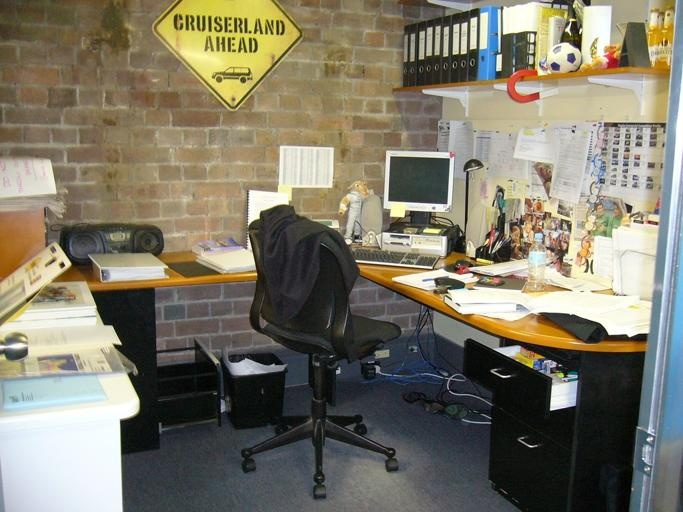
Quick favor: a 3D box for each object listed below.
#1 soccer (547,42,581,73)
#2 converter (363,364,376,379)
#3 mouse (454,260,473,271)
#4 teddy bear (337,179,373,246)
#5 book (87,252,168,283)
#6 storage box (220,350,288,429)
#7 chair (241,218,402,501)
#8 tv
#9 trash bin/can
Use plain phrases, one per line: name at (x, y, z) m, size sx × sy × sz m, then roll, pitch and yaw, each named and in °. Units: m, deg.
soccer at (0.982, -0.868, 2.482) m, size 0.146 × 0.127 × 0.089 m, roll 5°, pitch 15°, yaw 18°
converter at (0.170, 0.737, 3.596) m, size 0.089 × 0.109 × 0.078 m, roll 1°, pitch 3°, yaw -11°
mouse at (0.609, 0.049, 2.829) m, size 0.056 × 0.027 × 0.080 m, roll 8°, pitch 10°, yaw 40°
teddy bear at (0.078, -0.286, 3.489) m, size 0.171 × 0.438 × 0.158 m, roll 10°, pitch 13°, yaw 28°
book at (-1.059, 0.016, 2.776) m, size 0.419 × 0.129 × 0.421 m, roll -3°, pitch 10°, yaw -29°
storage box at (-0.483, 0.745, 3.203) m, size 0.309 × 0.428 × 0.337 m, roll 0°, pitch 12°, yaw -32°
chair at (-0.069, 0.376, 2.872) m, size 0.732 × 1.265 × 0.766 m, roll 5°, pitch 8°, yaw 35°
tv at (0.456, -0.388, 3.337) m, size 0.492 × 0.530 × 0.166 m, roll 3°, pitch 5°, yaw 19°
trash bin/can at (-0.497, 0.726, 3.160) m, size 0.378 × 0.485 × 0.379 m, roll -2°, pitch 8°, yaw -18°
